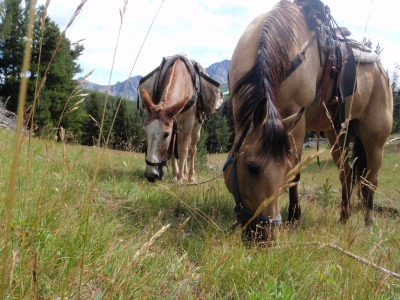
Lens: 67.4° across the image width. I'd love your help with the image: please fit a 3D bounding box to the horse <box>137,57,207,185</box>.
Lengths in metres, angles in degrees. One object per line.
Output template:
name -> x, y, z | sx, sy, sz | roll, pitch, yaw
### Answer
horse -> -0.452, -0.907, 7.682 | 0.918, 3.091, 4.246 | 6, 14, 9
